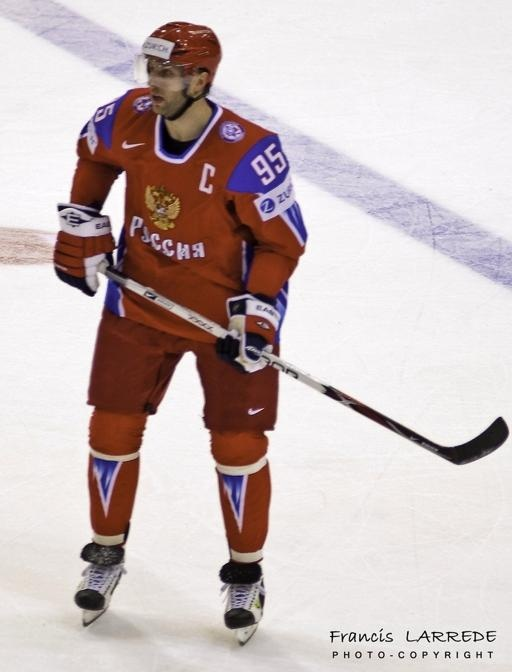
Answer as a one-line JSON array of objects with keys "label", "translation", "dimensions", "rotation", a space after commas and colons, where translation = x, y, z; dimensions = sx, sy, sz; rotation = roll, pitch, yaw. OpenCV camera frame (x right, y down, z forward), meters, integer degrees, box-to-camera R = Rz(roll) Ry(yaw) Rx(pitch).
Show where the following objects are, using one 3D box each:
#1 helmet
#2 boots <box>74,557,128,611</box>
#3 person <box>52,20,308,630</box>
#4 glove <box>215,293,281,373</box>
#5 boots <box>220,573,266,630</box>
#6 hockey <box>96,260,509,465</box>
[{"label": "helmet", "translation": [-0.160, -0.505, 1.463], "dimensions": [0.141, 0.128, 0.153], "rotation": [15, 27, 10]}, {"label": "boots", "translation": [-0.308, 0.492, 1.599], "dimensions": [0.063, 0.051, 0.132], "rotation": [21, 9, -5]}, {"label": "person", "translation": [-0.166, 0.001, 1.549], "dimensions": [0.574, 1.067, 0.294], "rotation": [11, 2, 2]}, {"label": "glove", "translation": [-0.010, -0.005, 1.480], "dimensions": [0.128, 0.134, 0.063], "rotation": [17, 12, 19]}, {"label": "boots", "translation": [-0.025, 0.519, 1.589], "dimensions": [0.090, 0.060, 0.193], "rotation": [-8, 4, 10]}, {"label": "hockey", "translation": [0.138, 0.095, 2.021], "dimensions": [1.064, 0.030, 0.305], "rotation": [22, 13, -1]}]
